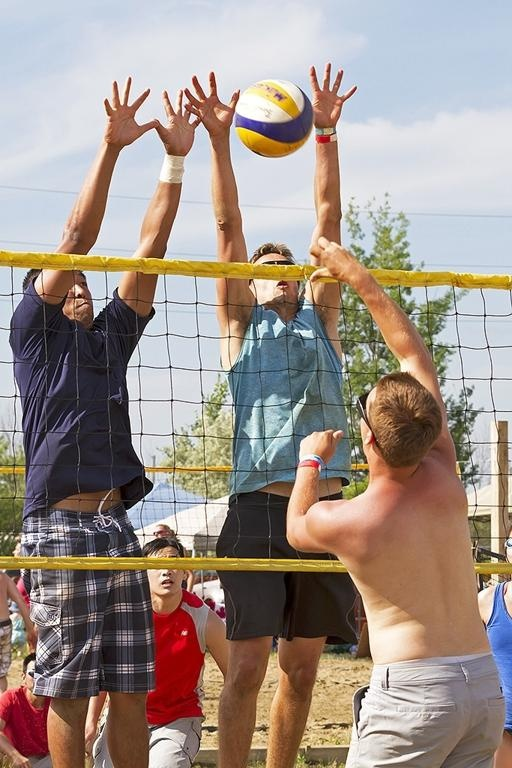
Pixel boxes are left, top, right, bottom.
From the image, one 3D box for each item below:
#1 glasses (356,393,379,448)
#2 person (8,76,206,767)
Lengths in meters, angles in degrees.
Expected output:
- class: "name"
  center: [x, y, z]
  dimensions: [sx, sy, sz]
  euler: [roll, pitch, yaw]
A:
- class: "glasses"
  center: [0.356, 0.116, 3.318]
  dimensions: [0.040, 0.134, 0.134]
  euler: [-17, 23, -11]
- class: "person"
  center: [-0.614, 0.082, 4.044]
  dimensions: [0.730, 2.830, 0.659]
  euler: [-5, -5, -3]
